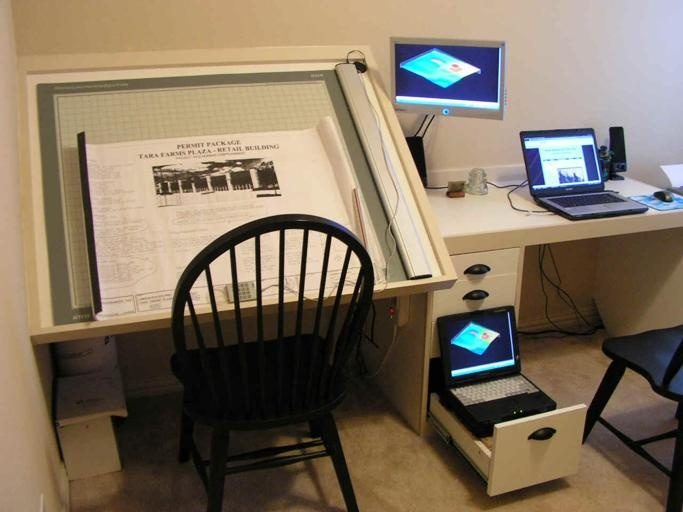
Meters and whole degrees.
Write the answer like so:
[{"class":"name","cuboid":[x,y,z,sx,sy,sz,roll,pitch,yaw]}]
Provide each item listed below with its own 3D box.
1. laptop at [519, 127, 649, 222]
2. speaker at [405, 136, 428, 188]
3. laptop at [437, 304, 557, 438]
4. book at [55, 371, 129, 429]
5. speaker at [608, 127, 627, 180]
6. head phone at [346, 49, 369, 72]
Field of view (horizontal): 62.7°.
[{"class":"laptop","cuboid":[1.012,-0.354,2.326,0.441,0.289,0.471,-12,22,-25]},{"class":"speaker","cuboid":[0.376,-0.436,2.579,0.052,0.245,0.167,-7,17,-1]},{"class":"laptop","cuboid":[0.568,0.417,2.084,0.359,0.395,0.253,-11,16,-13]},{"class":"book","cuboid":[-0.946,0.532,2.134,0.271,0.059,0.277,-11,34,-33]},{"class":"speaker","cuboid":[1.342,-0.491,2.717,0.069,0.207,0.083,-9,6,-22]},{"class":"head phone","cuboid":[0.067,-0.733,2.101,0.067,0.099,0.034,-7,-15,-8]}]
